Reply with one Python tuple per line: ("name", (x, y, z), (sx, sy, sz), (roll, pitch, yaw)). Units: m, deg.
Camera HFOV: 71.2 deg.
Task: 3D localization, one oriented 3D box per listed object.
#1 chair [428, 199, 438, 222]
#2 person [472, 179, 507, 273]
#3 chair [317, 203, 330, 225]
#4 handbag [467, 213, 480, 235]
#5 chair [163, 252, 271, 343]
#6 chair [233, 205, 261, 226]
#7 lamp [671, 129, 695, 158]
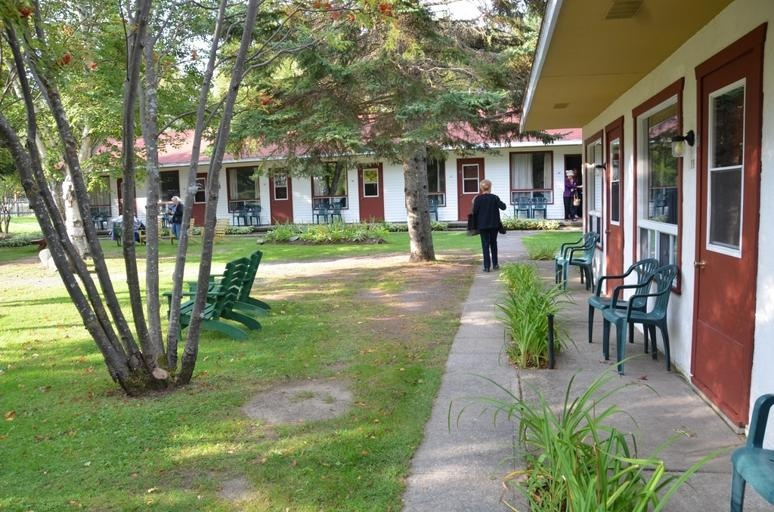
("chair", (2.287, -2.243, 26.014), (0.361, 0.960, 0.630), (-3, 10, 6))
("person", (2.374, -0.731, 12.505), (0.824, 2.060, 0.686), (-2, 3, -1))
("chair", (-3.185, -2.159, 27.096), (0.619, 0.976, 1.089), (-5, 10, -6))
("handbag", (2.015, -0.735, 12.495), (0.238, 0.629, 0.650), (-3, 3, 16))
("chair", (-2.470, 0.678, 7.968), (1.187, 1.035, 1.886), (1, 2, 7))
("chair", (-7.351, -2.176, 28.244), (1.490, 1.074, 0.817), (2, 11, 31))
("lamp", (3.099, -1.172, 5.652), (0.237, 0.264, 0.154), (1, 0, 2))
